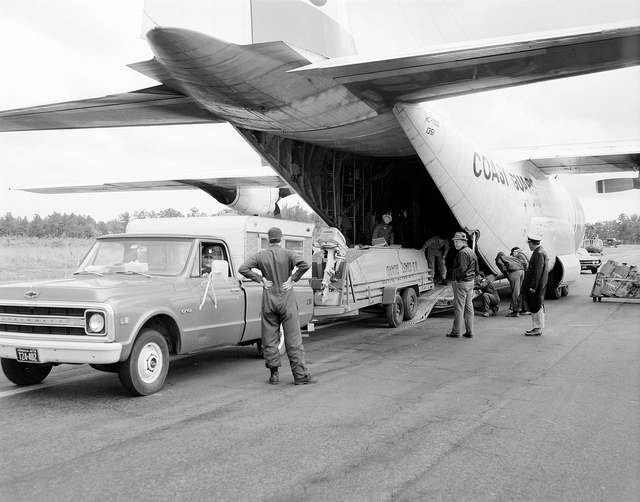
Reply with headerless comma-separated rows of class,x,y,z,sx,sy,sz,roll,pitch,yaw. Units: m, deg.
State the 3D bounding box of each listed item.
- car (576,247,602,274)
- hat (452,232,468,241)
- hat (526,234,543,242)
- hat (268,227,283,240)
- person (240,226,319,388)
car,15.146,0.588,26.222,1.793,1.363,3.873,-2,-5,24
hat,3.243,-0.343,10.700,0.245,0.098,0.219,2,-2,-6
hat,4.991,-0.293,10.962,0.343,0.147,0.404,2,2,3
hat,-0.648,-0.259,6.817,0.163,0.185,0.344,-1,0,-3
person,-0.562,0.931,6.632,0.966,1.959,0.365,-1,1,-3
